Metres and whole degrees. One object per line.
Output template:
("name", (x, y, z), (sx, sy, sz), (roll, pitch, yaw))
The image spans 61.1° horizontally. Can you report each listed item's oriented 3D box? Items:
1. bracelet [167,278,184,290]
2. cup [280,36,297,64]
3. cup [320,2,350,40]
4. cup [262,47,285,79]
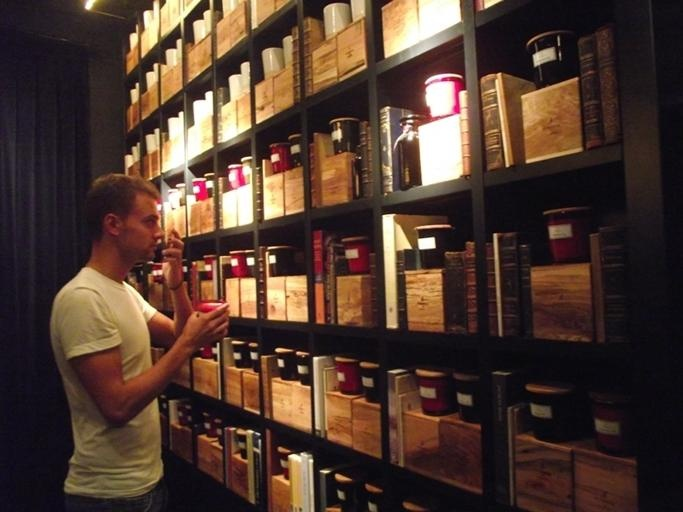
("bracelet", (-0.766, 0.130, 2.692), (0.050, 0.021, 0.044), (-16, 4, 31))
("cup", (-0.291, -1.132, 3.165), (0.114, 0.148, 0.145), (-1, 2, -4))
("cup", (-0.024, -1.167, 2.936), (0.145, 0.159, 0.160), (-5, 4, -44))
("cup", (-0.388, -1.081, 3.275), (0.151, 0.161, 0.141), (-2, 5, 0))
